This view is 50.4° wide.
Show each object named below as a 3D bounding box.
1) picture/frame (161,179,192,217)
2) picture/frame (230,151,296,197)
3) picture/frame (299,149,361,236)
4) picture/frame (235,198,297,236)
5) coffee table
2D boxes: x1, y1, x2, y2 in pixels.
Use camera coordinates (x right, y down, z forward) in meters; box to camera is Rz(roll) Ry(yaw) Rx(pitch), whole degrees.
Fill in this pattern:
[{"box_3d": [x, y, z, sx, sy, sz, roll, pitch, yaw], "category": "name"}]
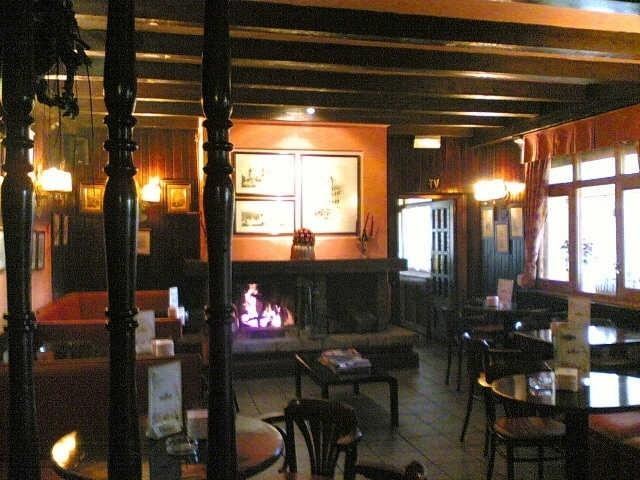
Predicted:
[{"box_3d": [-1.465, -0.435, 6.859, 0.348, 0.422, 0.035, 0, 3, -22], "category": "picture/frame"}, {"box_3d": [-0.495, -0.581, 6.059, 0.548, 0.432, 0.016, 2, 27, 1], "category": "picture/frame"}, {"box_3d": [0.062, -0.467, 6.257, 0.707, 0.926, 0.093, -3, 8, -18], "category": "picture/frame"}, {"box_3d": [-0.499, -0.199, 6.121, 0.537, 0.336, 0.123, -4, 6, -17], "category": "picture/frame"}, {"box_3d": [0.206, 0.868, 4.644, 0.444, 0.339, 0.716, 2, -5, -16], "category": "coffee table"}]
